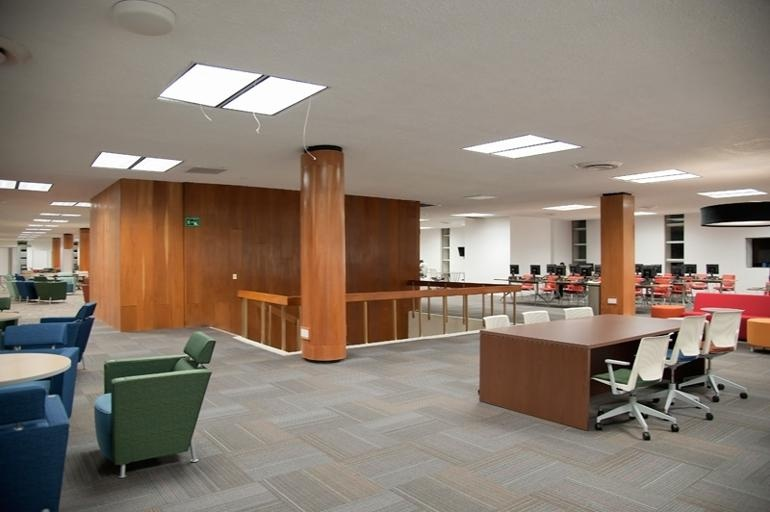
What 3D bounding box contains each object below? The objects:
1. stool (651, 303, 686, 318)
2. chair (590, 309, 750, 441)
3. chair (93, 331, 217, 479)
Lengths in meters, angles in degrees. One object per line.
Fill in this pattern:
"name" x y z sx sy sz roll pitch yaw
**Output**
"stool" 6.845 1.340 11.493 0.774 0.411 0.742 1 -2 -3
"chair" 3.546 1.618 6.299 1.413 1.408 2.313 0 -2 44
"chair" -2.394 1.557 5.514 1.636 1.600 1.173 3 -1 -30
